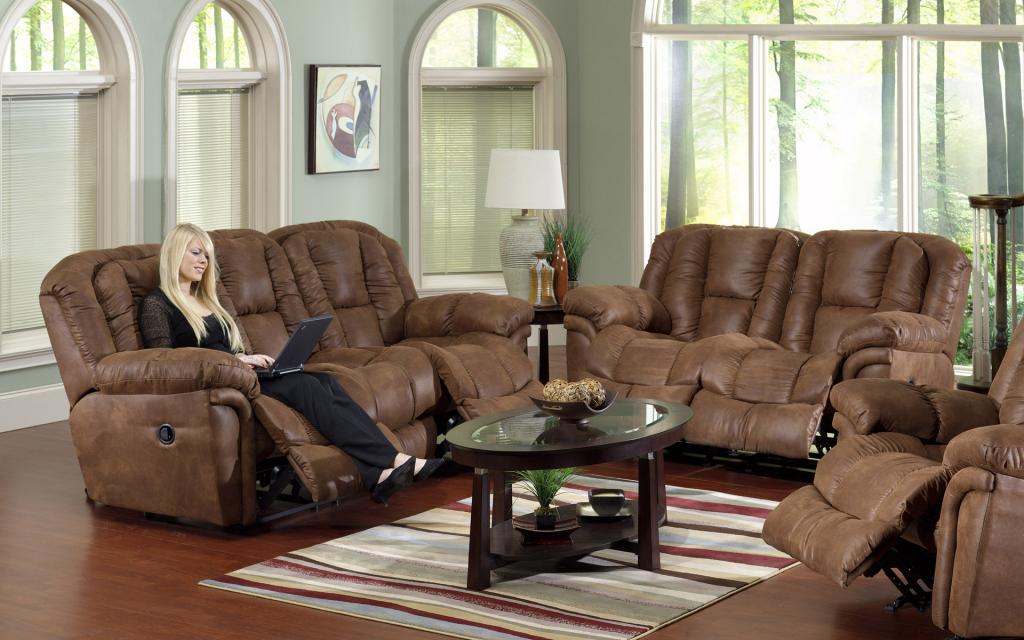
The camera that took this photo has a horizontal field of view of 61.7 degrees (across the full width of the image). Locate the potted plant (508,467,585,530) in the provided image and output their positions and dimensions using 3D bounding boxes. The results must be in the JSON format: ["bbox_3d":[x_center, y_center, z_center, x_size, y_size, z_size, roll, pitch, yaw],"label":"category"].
[{"bbox_3d":[0.158,0.809,3.968,0.375,0.266,0.316,0,0,3],"label":"potted plant"}]

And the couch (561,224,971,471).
[{"bbox_3d":[1.607,0.092,5.680,1.557,1.103,2.543,-23,19,-35],"label":"couch"}]

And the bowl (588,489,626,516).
[{"bbox_3d":[0.437,0.848,3.964,0.158,0.064,0.133,0,-1,0],"label":"bowl"}]

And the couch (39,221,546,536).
[{"bbox_3d":[-1.151,0.178,5.299,1.808,1.051,2.724,15,17,26],"label":"couch"}]

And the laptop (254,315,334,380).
[{"bbox_3d":[-1.134,0.158,4.587,0.426,0.217,0.353,4,7,27],"label":"laptop"}]

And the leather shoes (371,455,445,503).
[{"bbox_3d":[-0.491,0.816,4.522,0.519,0.123,0.163,-18,6,-20],"label":"leather shoes"}]

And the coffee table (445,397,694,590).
[{"bbox_3d":[0.203,0.712,3.799,0.883,0.478,1.286,3,5,41],"label":"coffee table"}]

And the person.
[{"bbox_3d":[-1.307,0.211,4.554,1.518,1.404,0.636,6,15,29],"label":"person"}]
